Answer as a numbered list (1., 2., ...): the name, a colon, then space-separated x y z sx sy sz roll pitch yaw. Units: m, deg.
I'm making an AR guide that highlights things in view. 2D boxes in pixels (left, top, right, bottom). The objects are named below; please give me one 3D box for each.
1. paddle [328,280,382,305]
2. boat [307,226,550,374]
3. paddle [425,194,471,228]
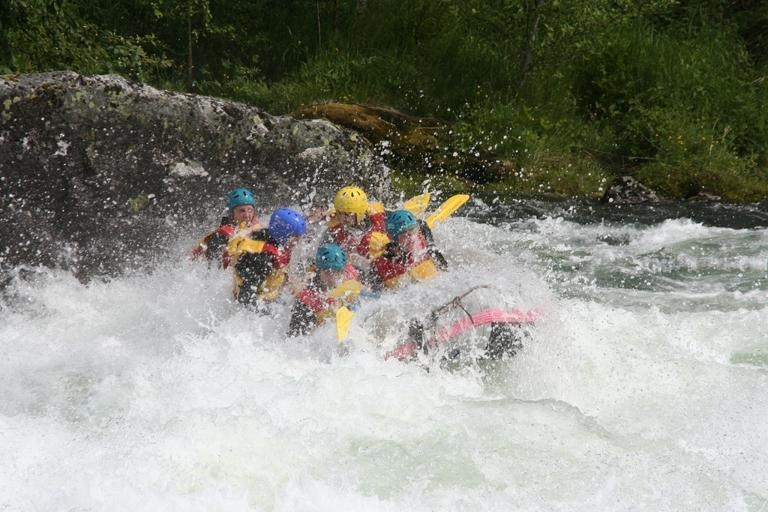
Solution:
1. paddle: -0.451 0.519 12.589 0.578 0.296 0.364 -4 6 -44
2. boat: 0.480 0.780 12.600 2.765 0.926 1.611 17 35 22
3. paddle: 1.041 -0.746 15.042 0.345 0.143 1.455 43 42 10
